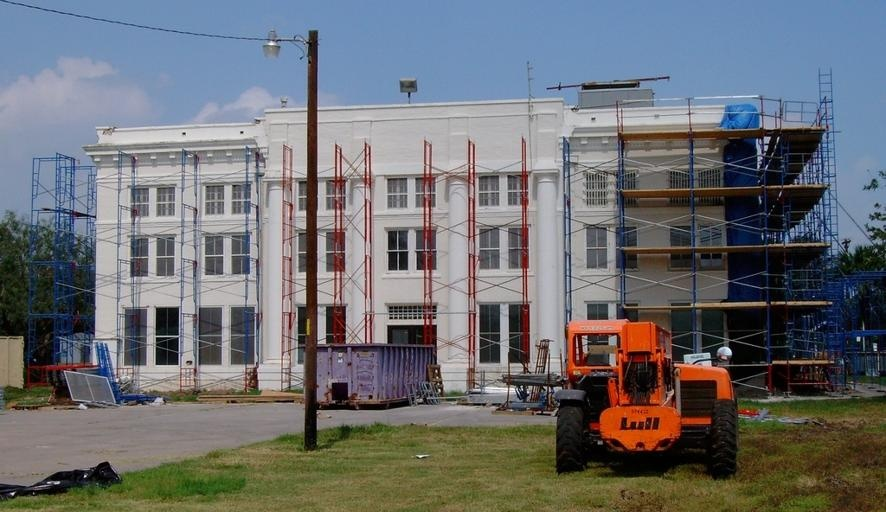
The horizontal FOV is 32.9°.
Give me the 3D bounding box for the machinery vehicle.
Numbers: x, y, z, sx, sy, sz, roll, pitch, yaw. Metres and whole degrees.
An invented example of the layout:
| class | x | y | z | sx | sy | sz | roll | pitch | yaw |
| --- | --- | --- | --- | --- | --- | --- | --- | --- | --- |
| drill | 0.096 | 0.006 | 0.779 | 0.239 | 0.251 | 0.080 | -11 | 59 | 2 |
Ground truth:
| class | x | y | z | sx | sy | sz | roll | pitch | yaw |
| --- | --- | --- | --- | --- | --- | --- | --- | --- | --- |
| machinery vehicle | 8.659 | 6.249 | 64.941 | 7.274 | 6.924 | 2.649 | -3 | -5 | 12 |
